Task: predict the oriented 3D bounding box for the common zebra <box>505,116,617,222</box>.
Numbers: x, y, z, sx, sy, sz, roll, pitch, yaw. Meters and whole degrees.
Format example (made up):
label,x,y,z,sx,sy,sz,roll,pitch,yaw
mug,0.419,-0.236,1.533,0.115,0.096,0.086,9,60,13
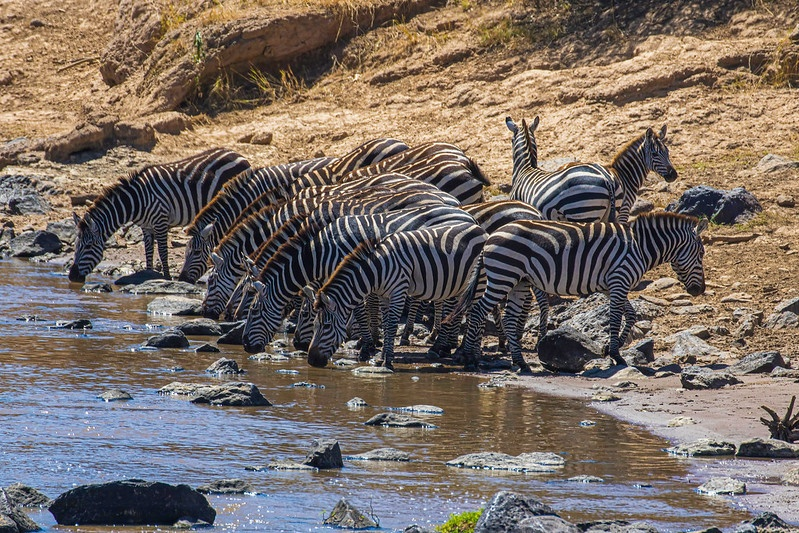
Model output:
label,x,y,z,sx,sy,sz,roll,pitch,yaw
common zebra,3.287,-2.031,35.195,2.806,1.532,2.262,3,-2,24
